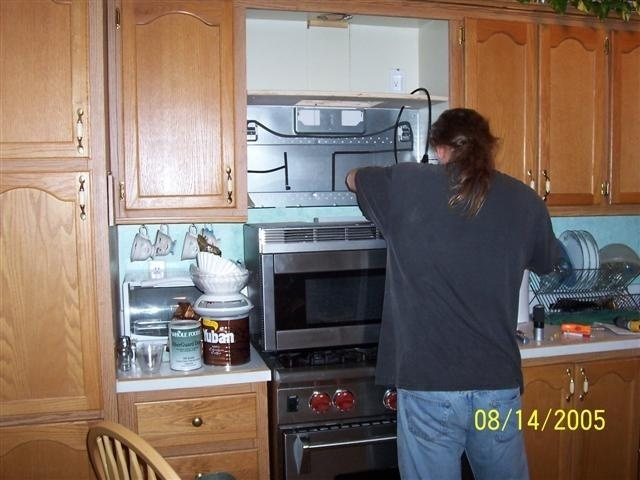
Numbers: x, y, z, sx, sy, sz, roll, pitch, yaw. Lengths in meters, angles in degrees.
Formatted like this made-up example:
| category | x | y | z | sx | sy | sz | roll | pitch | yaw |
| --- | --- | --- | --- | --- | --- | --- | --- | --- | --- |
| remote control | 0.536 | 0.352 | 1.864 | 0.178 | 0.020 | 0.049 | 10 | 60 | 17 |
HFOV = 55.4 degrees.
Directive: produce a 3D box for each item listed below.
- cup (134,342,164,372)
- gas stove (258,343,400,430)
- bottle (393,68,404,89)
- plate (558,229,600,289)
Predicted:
| category | x | y | z | sx | sy | sz | roll | pitch | yaw |
| --- | --- | --- | --- | --- | --- | --- | --- | --- | --- |
| cup | -0.691 | 0.464 | 2.519 | 0.115 | 0.099 | 0.128 | 5 | 10 | 25 |
| gas stove | 0.080 | 0.684 | 2.627 | 0.594 | 0.385 | 0.384 | 2 | -5 | -20 |
| bottle | 0.390 | -0.806 | 3.048 | 0.039 | 0.115 | 0.046 | 1 | 7 | 40 |
| plate | 1.338 | 0.091 | 3.160 | 0.110 | 0.284 | 0.236 | 5 | -1 | -15 |
